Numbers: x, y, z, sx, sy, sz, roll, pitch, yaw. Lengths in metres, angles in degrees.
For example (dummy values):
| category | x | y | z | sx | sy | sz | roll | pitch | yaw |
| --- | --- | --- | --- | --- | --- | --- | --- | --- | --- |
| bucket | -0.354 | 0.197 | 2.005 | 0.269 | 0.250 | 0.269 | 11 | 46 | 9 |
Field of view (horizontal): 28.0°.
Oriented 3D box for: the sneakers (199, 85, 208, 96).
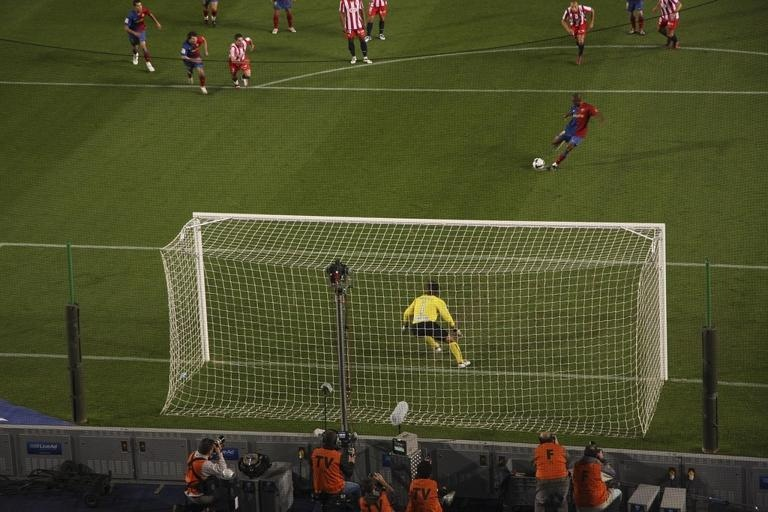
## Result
| category | x | y | z | sx | sy | sz | roll | pitch | yaw |
| --- | --- | --- | --- | --- | --- | --- | --- | --- | --- |
| sneakers | -4.708 | -4.314 | 40.365 | 0.143 | 0.173 | 0.265 | -32 | 41 | -22 |

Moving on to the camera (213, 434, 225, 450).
| category | x | y | z | sx | sy | sz | roll | pitch | yaw |
| --- | --- | --- | --- | --- | --- | --- | --- | --- | --- |
| camera | -3.126 | 3.531 | 29.489 | 0.221 | 0.283 | 0.211 | 16 | 35 | 25 |

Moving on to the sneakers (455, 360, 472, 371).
| category | x | y | z | sx | sy | sz | roll | pitch | yaw |
| --- | --- | --- | --- | --- | --- | --- | --- | --- | --- |
| sneakers | 1.656 | 2.296 | 32.351 | 0.314 | 0.135 | 0.121 | -19 | 26 | -39 |

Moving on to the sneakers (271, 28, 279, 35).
| category | x | y | z | sx | sy | sz | roll | pitch | yaw |
| --- | --- | --- | --- | --- | --- | --- | --- | --- | --- |
| sneakers | -3.040 | -6.170 | 42.793 | 0.123 | 0.084 | 0.200 | 0 | 33 | 1 |

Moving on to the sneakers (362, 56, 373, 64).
| category | x | y | z | sx | sy | sz | roll | pitch | yaw |
| --- | --- | --- | --- | --- | --- | --- | --- | --- | --- |
| sneakers | -0.431 | -5.196 | 41.336 | 0.124 | 0.133 | 0.318 | -30 | 38 | -34 |

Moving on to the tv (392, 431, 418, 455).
| category | x | y | z | sx | sy | sz | roll | pitch | yaw |
| --- | --- | --- | --- | --- | --- | --- | --- | --- | --- |
| tv | 0.387 | 3.570 | 29.523 | 0.469 | 0.389 | 0.432 | -1 | 11 | 0 |

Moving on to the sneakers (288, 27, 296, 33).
| category | x | y | z | sx | sy | sz | roll | pitch | yaw |
| --- | --- | --- | --- | --- | --- | --- | --- | --- | --- |
| sneakers | -2.551 | -6.226 | 42.877 | 0.109 | 0.074 | 0.195 | -18 | 43 | -29 |

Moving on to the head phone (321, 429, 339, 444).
| category | x | y | z | sx | sy | sz | roll | pitch | yaw |
| --- | --- | --- | --- | --- | --- | --- | --- | --- | --- |
| head phone | -0.994 | 3.422 | 29.061 | 0.236 | 0.269 | 0.291 | 1 | -4 | -32 |

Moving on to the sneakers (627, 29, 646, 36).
| category | x | y | z | sx | sy | sz | roll | pitch | yaw |
| --- | --- | --- | --- | --- | --- | --- | --- | --- | --- |
| sneakers | 6.780 | -5.975 | 41.678 | 0.520 | 0.191 | 0.160 | 0 | 39 | 11 |

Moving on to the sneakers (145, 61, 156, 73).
| category | x | y | z | sx | sy | sz | roll | pitch | yaw |
| --- | --- | --- | --- | --- | --- | --- | --- | --- | --- |
| sneakers | -6.276 | -5.007 | 41.311 | 0.141 | 0.249 | 0.268 | 38 | 63 | 22 |

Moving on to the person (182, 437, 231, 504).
| category | x | y | z | sx | sy | sz | roll | pitch | yaw |
| --- | --- | --- | --- | --- | --- | --- | --- | --- | --- |
| person | -3.344 | 4.053 | 29.109 | 0.946 | 1.084 | 0.898 | 23 | 29 | 31 |

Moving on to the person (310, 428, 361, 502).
| category | x | y | z | sx | sy | sz | roll | pitch | yaw |
| --- | --- | --- | --- | --- | --- | --- | --- | --- | --- |
| person | -0.953 | 3.952 | 29.160 | 0.870 | 1.350 | 0.429 | 0 | 6 | -4 |

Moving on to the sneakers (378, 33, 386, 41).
| category | x | y | z | sx | sy | sz | roll | pitch | yaw |
| --- | --- | --- | --- | --- | --- | --- | --- | --- | --- |
| sneakers | -0.067 | -5.976 | 42.386 | 0.095 | 0.101 | 0.240 | -14 | 26 | -24 |
